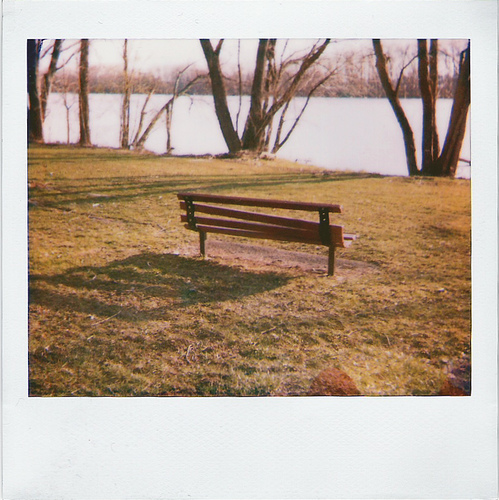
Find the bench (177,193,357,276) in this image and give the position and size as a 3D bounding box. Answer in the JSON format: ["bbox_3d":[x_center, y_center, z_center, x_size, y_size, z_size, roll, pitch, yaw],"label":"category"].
[{"bbox_3d":[0.137,-0.199,7.666,1.778,0.892,0.590,6,21,21],"label":"bench"}]
